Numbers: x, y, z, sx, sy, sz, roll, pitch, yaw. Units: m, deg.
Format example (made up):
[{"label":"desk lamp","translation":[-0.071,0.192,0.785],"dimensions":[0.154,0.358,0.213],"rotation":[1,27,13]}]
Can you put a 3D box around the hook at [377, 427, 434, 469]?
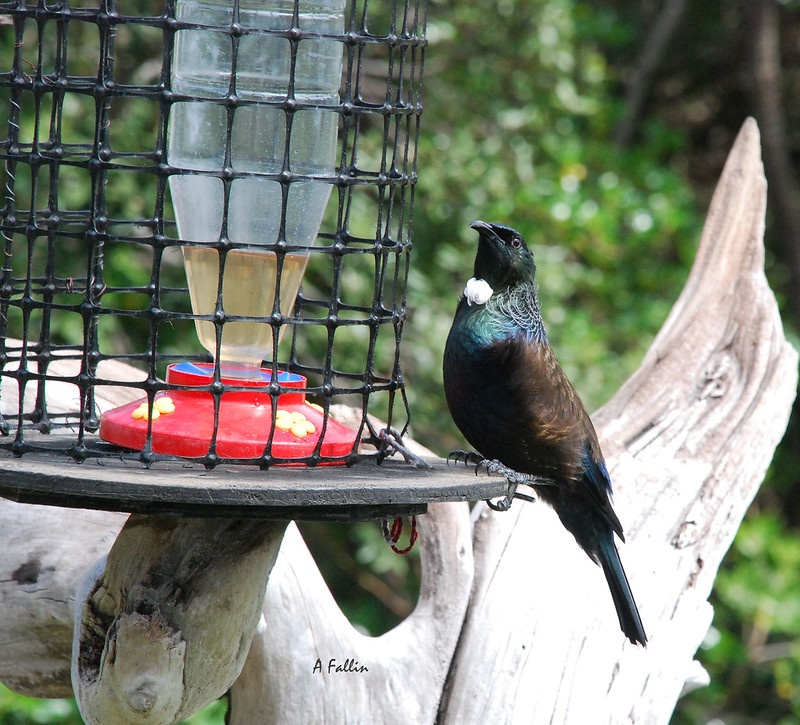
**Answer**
[{"label":"hook","translation":[0.013,0.228,4.475],"dimensions":[0.159,0.044,0.079],"rotation":[32,57,27]}]
